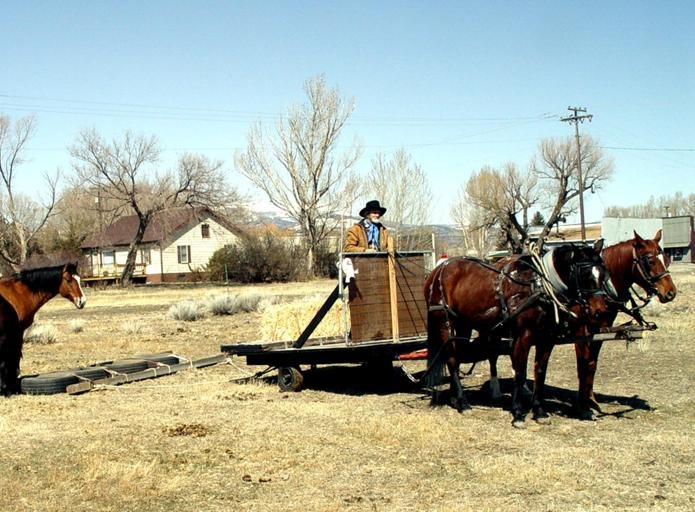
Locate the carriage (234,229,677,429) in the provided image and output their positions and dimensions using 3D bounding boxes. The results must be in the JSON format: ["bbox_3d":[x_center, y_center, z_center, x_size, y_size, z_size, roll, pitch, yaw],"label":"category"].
[{"bbox_3d":[1.974,1.072,14.713,3.242,2.980,6.748,1,-5,-43],"label":"carriage"}]

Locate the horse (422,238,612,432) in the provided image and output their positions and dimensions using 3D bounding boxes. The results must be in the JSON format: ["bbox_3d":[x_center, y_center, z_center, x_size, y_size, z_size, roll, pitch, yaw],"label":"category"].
[{"bbox_3d":[2.716,1.178,13.827,3.379,3.025,1.138,1,8,36],"label":"horse"}]

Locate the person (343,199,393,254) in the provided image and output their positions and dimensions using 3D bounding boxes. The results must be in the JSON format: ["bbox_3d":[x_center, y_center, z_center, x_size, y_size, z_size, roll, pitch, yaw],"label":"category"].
[{"bbox_3d":[0.476,-0.436,15.464,0.827,1.305,0.909,3,0,43],"label":"person"}]
